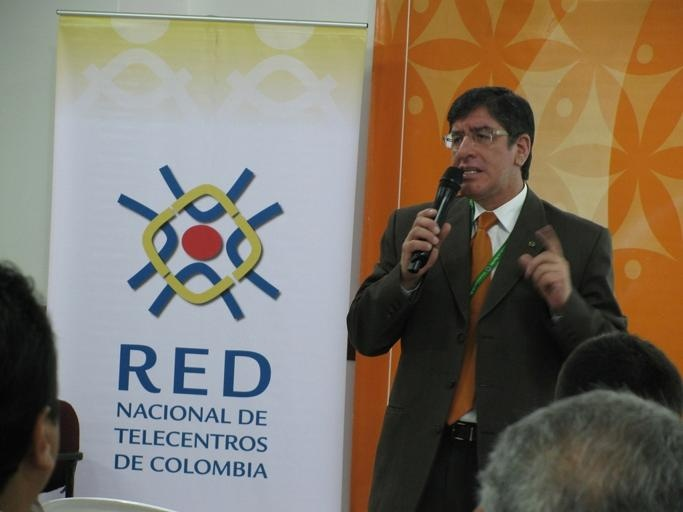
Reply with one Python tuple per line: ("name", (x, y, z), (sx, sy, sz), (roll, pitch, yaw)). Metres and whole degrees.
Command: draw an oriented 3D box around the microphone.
("microphone", (0.377, -0.195, 3.053), (0.116, 0.599, 0.132), (11, -26, 14))
